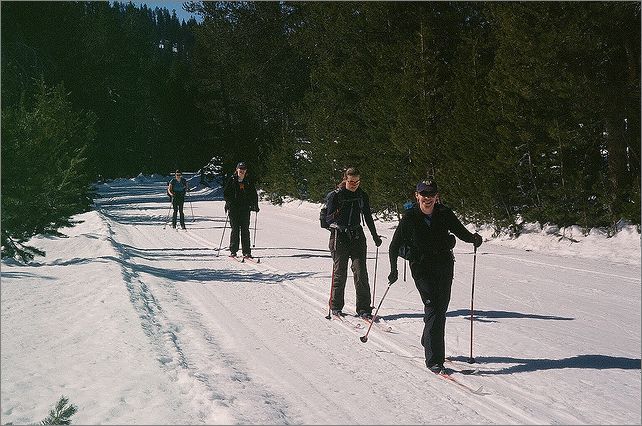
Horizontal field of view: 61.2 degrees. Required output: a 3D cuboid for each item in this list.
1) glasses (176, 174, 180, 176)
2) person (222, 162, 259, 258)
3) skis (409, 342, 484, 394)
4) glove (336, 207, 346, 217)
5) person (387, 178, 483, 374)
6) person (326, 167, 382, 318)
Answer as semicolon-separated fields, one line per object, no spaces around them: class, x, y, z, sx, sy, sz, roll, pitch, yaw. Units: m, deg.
glasses;-6.500;-1.766;24.691;0.135;0.048;0.132;-2;-1;44
person;-2.633;-0.083;17.784;1.079;3.137;1.221;0;12;-11
skis;2.286;2.926;10.440;0.276;0.276;1.925;3;24;-39
glove;0.463;-0.043;12.526;0.161;0.147;0.037;3;12;2
person;2.110;1.149;10.508;1.189;3.532;0.883;10;14;32
person;0.673;0.643;12.624;1.387;3.394;1.022;5;12;12
